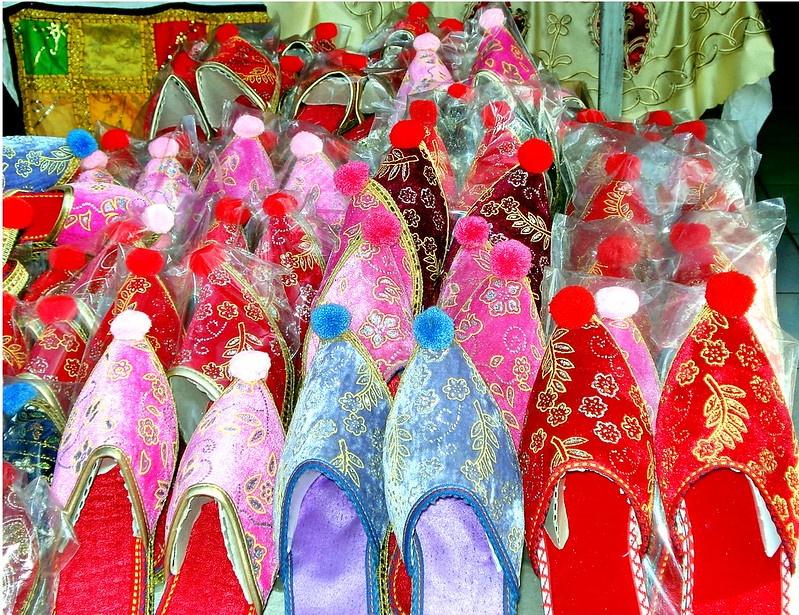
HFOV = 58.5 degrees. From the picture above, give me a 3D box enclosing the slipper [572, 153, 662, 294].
[{"bbox_3d":[0.285,-0.115,0.914,0.085,0.212,0.063,2,-37,17],"label":"slipper"}]
